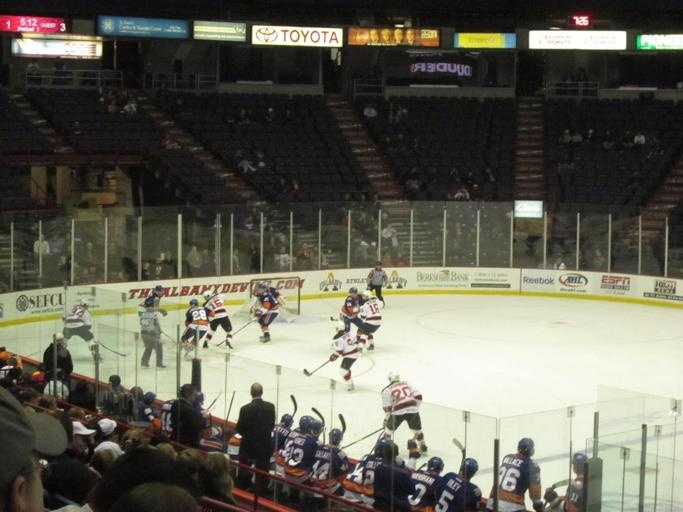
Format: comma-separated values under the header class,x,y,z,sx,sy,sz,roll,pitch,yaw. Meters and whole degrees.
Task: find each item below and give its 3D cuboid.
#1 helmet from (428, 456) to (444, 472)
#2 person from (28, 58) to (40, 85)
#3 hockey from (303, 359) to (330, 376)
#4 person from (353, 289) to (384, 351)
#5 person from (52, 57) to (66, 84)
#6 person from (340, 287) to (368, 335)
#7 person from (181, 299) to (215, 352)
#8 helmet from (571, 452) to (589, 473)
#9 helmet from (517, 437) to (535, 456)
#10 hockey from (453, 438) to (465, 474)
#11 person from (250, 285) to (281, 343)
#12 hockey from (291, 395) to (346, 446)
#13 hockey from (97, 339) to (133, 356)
class,x,y,z,sx,sy,sz,roll,pitch,yaw
helmet,1.627,3.567,19.925,0.203,0.241,0.266,7,10,22
person,-10.257,-6.107,38.493,0.472,0.915,0.646,3,-5,-17
hockey,-0.638,2.472,26.308,0.573,0.160,0.565,-23,-8,-44
person,0.633,1.541,28.167,0.666,1.418,1.712,2,-5,1
person,-9.476,-6.195,38.687,0.435,0.994,1.021,3,-5,-14
person,0.273,1.392,27.919,0.642,1.350,0.627,0,17,5
person,-3.334,1.643,26.583,0.622,0.579,1.750,7,13,-5
helmet,4.065,3.537,19.742,0.235,0.320,0.314,-2,21,-12
helmet,3.151,3.214,19.897,0.249,0.330,0.322,16,24,40
hockey,2.024,3.333,19.799,0.112,0.431,0.413,1,33,-13
person,-1.899,1.417,29.172,0.630,1.478,1.112,2,-5,-6
hockey,-0.536,2.940,20.728,0.574,0.618,0.174,13,14,21
hockey,-4.506,1.796,22.466,0.362,0.115,0.372,16,-8,30
